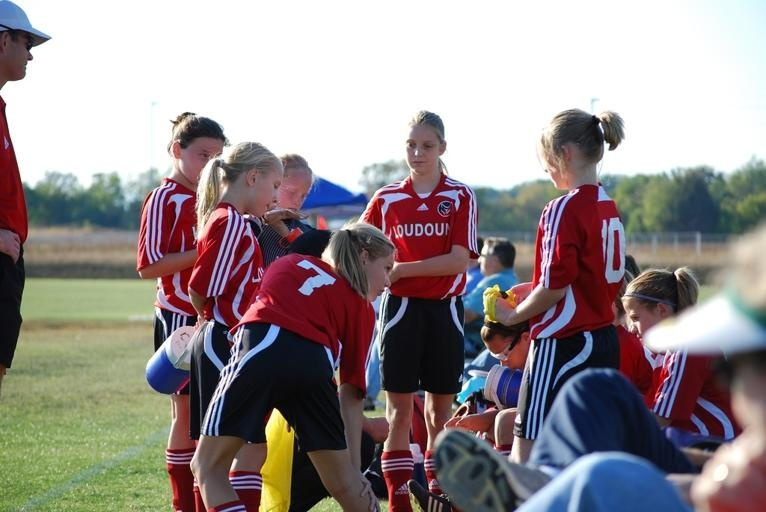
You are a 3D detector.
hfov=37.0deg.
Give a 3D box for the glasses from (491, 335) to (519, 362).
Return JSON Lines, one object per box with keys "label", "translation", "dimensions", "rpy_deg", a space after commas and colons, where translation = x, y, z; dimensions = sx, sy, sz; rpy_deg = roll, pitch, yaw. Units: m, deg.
{"label": "glasses", "translation": [0.932, 0.748, 8.722], "dimensions": [0.190, 0.052, 0.150], "rpy_deg": [-48, 15, -22]}
